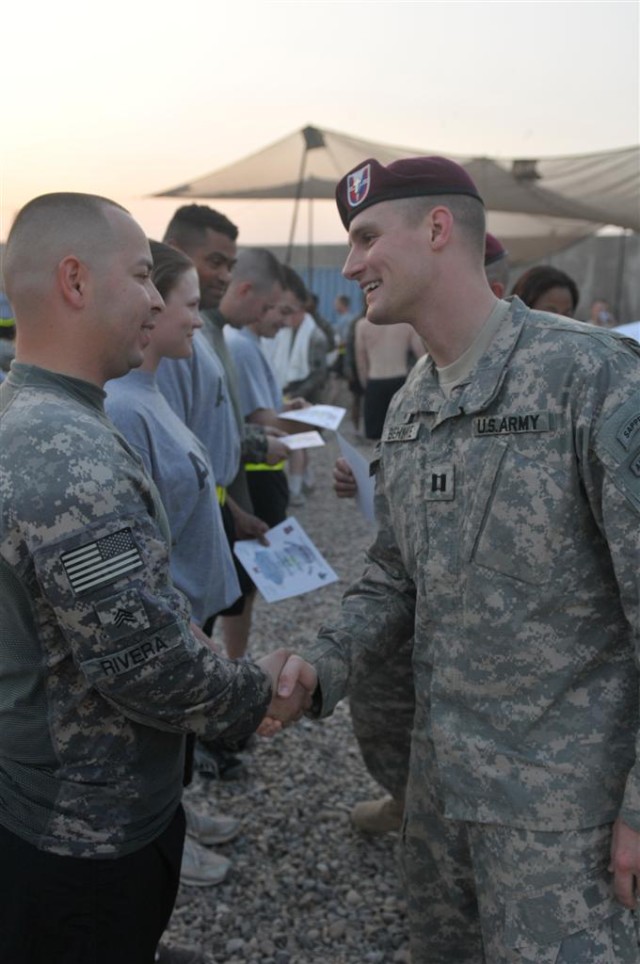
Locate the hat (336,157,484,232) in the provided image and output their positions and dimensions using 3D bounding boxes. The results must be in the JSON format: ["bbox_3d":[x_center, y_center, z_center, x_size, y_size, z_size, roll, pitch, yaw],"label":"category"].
[{"bbox_3d":[0.185,-0.674,2.376,0.266,0.075,0.193,0,-1,4],"label":"hat"}]
